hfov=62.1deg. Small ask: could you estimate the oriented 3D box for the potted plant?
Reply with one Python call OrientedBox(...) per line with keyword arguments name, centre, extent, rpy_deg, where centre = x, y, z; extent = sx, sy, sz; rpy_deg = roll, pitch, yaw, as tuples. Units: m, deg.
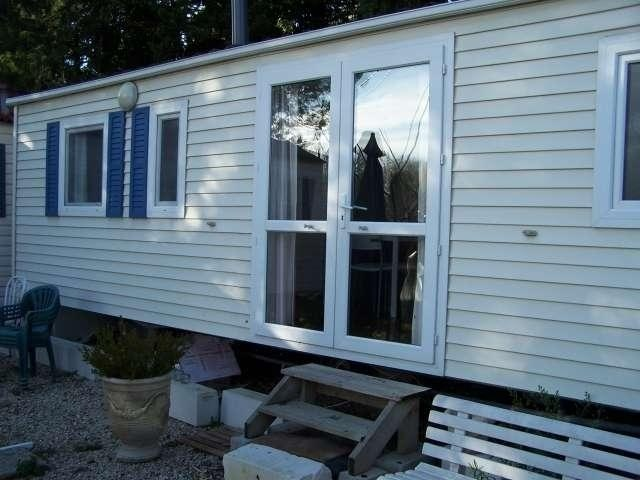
OrientedBox(name="potted plant", centre=(-1.281, 1.348, 4.522), extent=(0.823, 0.981, 0.627), rpy_deg=(-16, -28, 32))
